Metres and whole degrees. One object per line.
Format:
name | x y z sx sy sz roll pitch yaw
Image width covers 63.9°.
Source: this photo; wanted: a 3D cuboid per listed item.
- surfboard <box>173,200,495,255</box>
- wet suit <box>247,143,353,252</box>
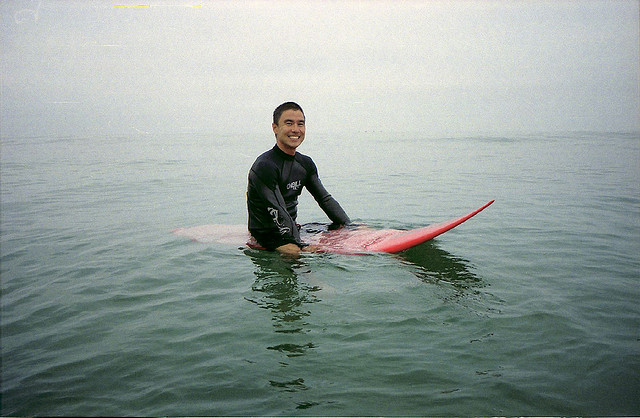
surfboard | 0.232 0.277 7.197 3.274 0.419 0.774 0 10 9
wet suit | -0.240 -0.175 6.792 1.728 1.213 1.110 8 17 9
